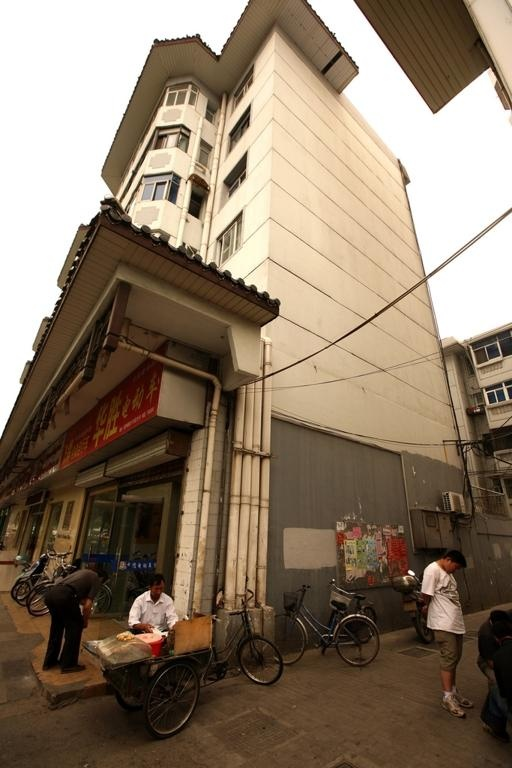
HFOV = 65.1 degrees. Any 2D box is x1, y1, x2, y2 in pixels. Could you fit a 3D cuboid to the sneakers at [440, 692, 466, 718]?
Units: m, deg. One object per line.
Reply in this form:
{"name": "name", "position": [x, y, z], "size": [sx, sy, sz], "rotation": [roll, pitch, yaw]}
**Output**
{"name": "sneakers", "position": [1.943, 3.181, 3.965], "size": [0.114, 0.165, 0.272], "rotation": [-2, -36, -10]}

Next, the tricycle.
{"name": "tricycle", "position": [-0.552, 2.721, 4.151], "size": [2.006, 1.020, 0.665], "rotation": [11, -25, -34]}

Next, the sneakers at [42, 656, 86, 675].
{"name": "sneakers", "position": [-2.276, 3.353, 4.792], "size": [0.509, 0.106, 0.291], "rotation": [-3, -21, 12]}

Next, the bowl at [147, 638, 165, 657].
{"name": "bowl", "position": [-0.909, 2.428, 3.704], "size": [0.145, 0.138, 0.379], "rotation": [5, -20, -7]}

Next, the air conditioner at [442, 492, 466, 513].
{"name": "air conditioner", "position": [5.559, 3.355, 11.364], "size": [0.683, 0.420, 0.378], "rotation": [21, -33, -36]}

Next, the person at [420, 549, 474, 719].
{"name": "person", "position": [2.048, 2.572, 4.265], "size": [0.473, 1.494, 0.342], "rotation": [-5, -25, 17]}
